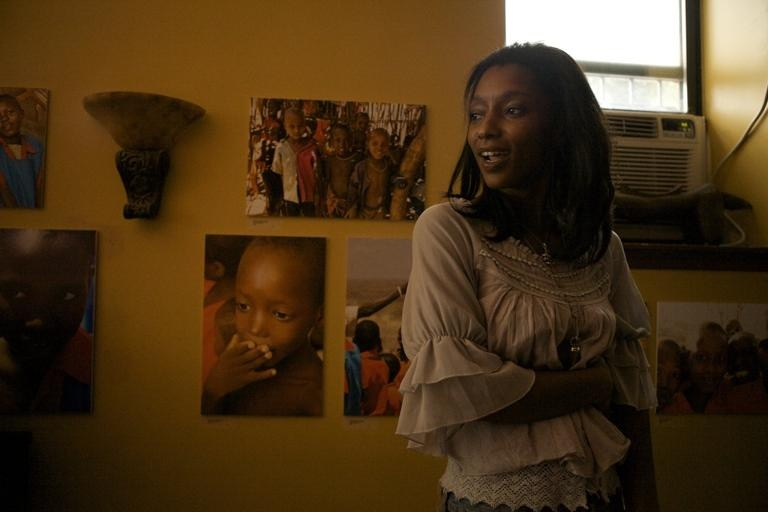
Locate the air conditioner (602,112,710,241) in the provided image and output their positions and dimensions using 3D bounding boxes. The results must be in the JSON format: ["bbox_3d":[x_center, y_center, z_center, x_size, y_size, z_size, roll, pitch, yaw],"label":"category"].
[{"bbox_3d":[1.447,-0.408,3.922,0.613,0.656,0.345,2,-14,-4],"label":"air conditioner"}]

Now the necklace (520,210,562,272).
[{"bbox_3d":[0.593,-0.055,2.758,0.157,0.215,0.067,-36,4,-14],"label":"necklace"}]

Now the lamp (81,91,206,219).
[{"bbox_3d":[-1.281,-0.502,3.869,0.617,0.614,0.608,-1,-2,22],"label":"lamp"}]
